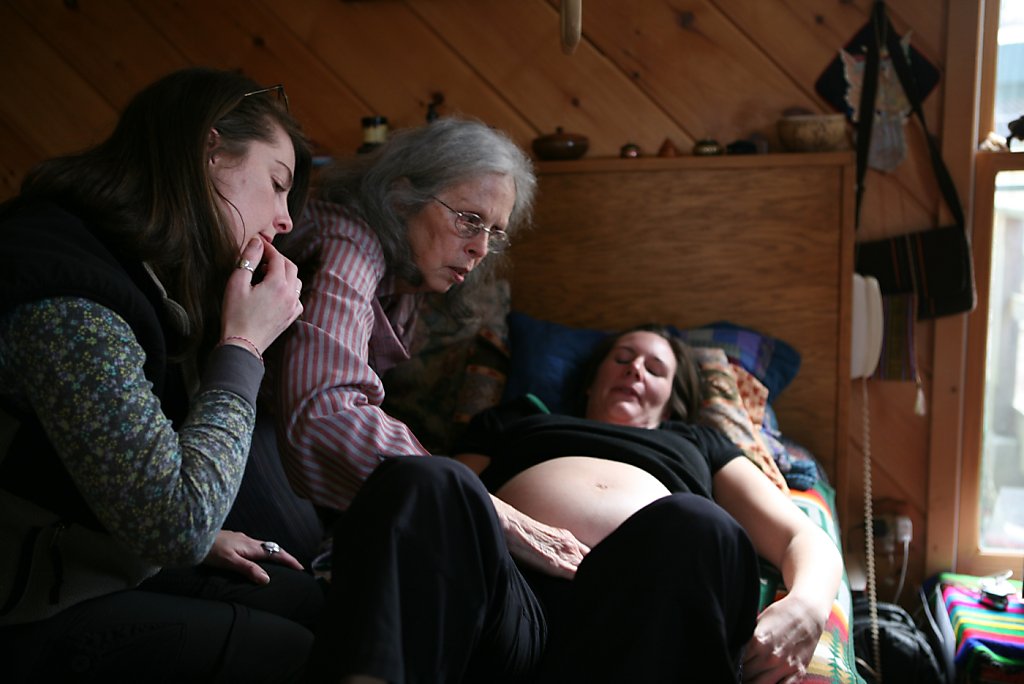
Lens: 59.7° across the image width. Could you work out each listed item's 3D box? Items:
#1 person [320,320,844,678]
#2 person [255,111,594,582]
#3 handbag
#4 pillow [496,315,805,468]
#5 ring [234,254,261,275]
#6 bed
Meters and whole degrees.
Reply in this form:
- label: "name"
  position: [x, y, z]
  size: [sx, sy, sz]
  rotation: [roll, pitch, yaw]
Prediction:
- label: "person"
  position: [0.150, 0.617, 2.693]
  size: [0.955, 0.817, 1.500]
  rotation: [7, 34, 5]
- label: "person"
  position: [-0.168, -0.103, 2.642]
  size: [0.871, 1.130, 1.282]
  rotation: [18, -8, -20]
- label: "handbag"
  position: [1.524, -0.265, 3.400]
  size: [0.417, 0.345, 0.089]
  rotation: [2, -1, 19]
- label: "pillow"
  position: [0.468, 0.095, 3.191]
  size: [0.713, 0.224, 0.658]
  rotation: [10, 44, 1]
- label: "ring"
  position: [-0.653, -0.193, 2.196]
  size: [0.044, 0.026, 0.036]
  rotation: [6, -3, 23]
- label: "bed"
  position: [0.366, 0.069, 2.800]
  size: [0.759, 1.540, 1.417]
  rotation: [2, -1, 0]
